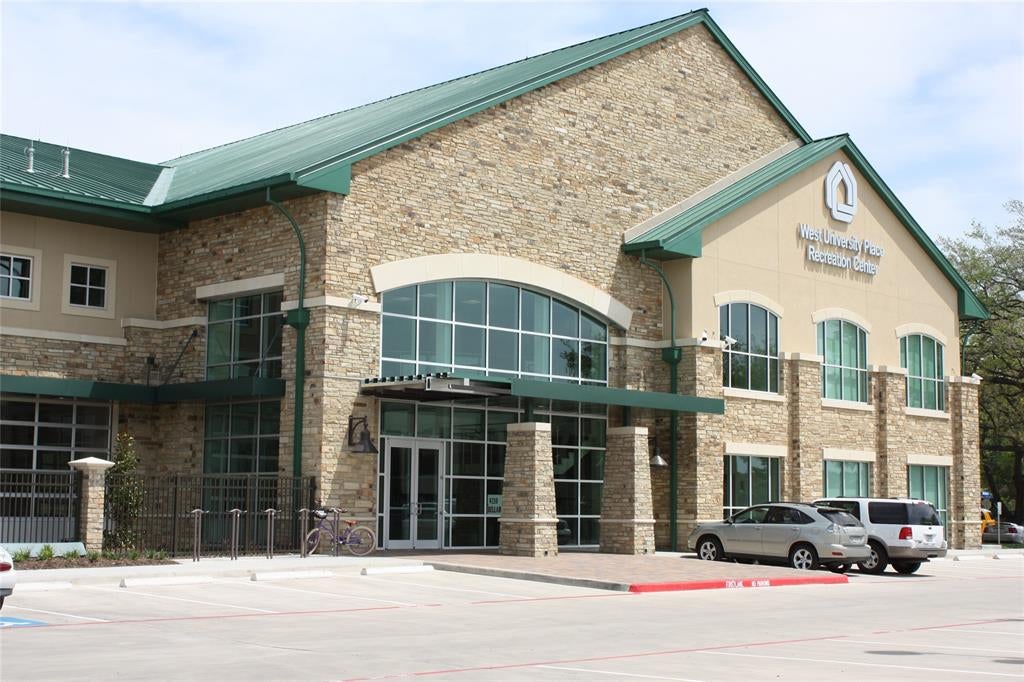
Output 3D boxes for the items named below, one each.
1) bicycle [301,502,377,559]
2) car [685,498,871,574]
[{"bbox_3d":[-4.936,5.478,33.376,2.144,1.095,1.080,9,-14,-21],"label":"bicycle"},{"bbox_3d":[7.769,5.750,34.339,4.418,2.010,1.172,-7,-16,23],"label":"car"}]
